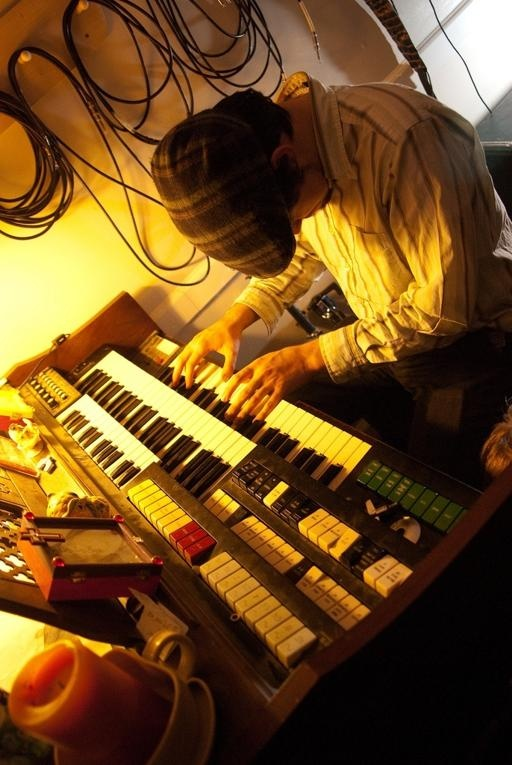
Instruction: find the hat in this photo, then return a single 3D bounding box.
[{"bbox_3d":[-0.023,-0.398,1.166,0.184,0.348,0.231,-39,-1,-44],"label":"hat"}]
